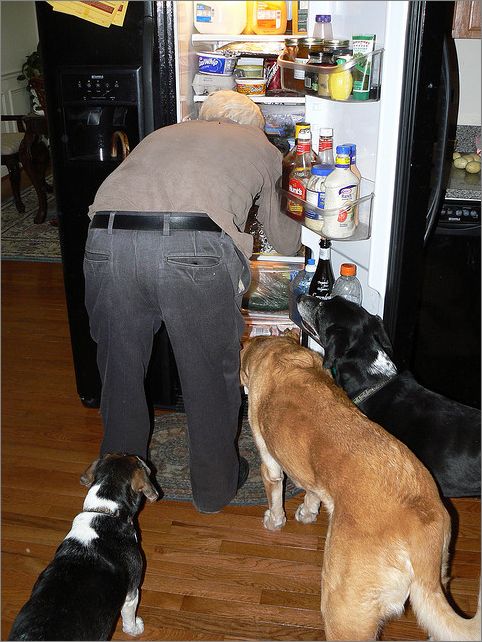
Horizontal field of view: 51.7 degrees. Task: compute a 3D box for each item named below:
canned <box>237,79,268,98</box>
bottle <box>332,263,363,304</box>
[{"bbox_3d":[0.039,-1.000,2.111,0.101,0.052,0.101,-25,43,-35],"label":"canned"},{"bbox_3d":[0.329,-0.113,1.538,0.080,0.137,0.085,0,29,0],"label":"bottle"}]
